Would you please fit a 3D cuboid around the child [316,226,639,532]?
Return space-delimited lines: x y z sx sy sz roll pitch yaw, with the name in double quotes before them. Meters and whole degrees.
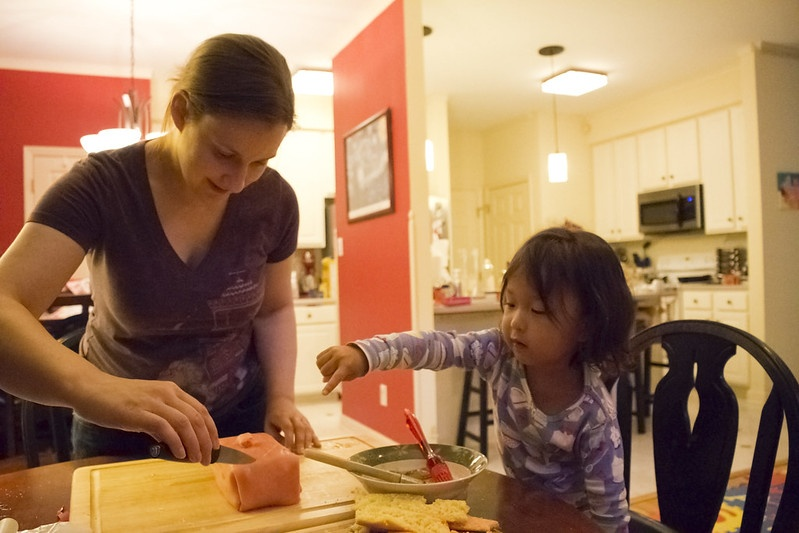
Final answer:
"child" 0.201 0.282 2.254 0.932 1.379 0.752 4 -1 -27

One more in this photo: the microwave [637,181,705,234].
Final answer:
"microwave" 2.732 -0.543 6.339 0.413 0.393 0.631 -1 -2 -30

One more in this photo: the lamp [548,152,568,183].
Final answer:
"lamp" 1.518 -0.963 6.076 0.153 0.299 0.248 -3 -1 10

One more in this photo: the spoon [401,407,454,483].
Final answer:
"spoon" 0.050 0.449 1.693 0.059 0.055 0.274 -2 36 -27

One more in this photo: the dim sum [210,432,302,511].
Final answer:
"dim sum" -0.369 0.535 1.649 0.179 0.165 0.236 -1 -2 -43
